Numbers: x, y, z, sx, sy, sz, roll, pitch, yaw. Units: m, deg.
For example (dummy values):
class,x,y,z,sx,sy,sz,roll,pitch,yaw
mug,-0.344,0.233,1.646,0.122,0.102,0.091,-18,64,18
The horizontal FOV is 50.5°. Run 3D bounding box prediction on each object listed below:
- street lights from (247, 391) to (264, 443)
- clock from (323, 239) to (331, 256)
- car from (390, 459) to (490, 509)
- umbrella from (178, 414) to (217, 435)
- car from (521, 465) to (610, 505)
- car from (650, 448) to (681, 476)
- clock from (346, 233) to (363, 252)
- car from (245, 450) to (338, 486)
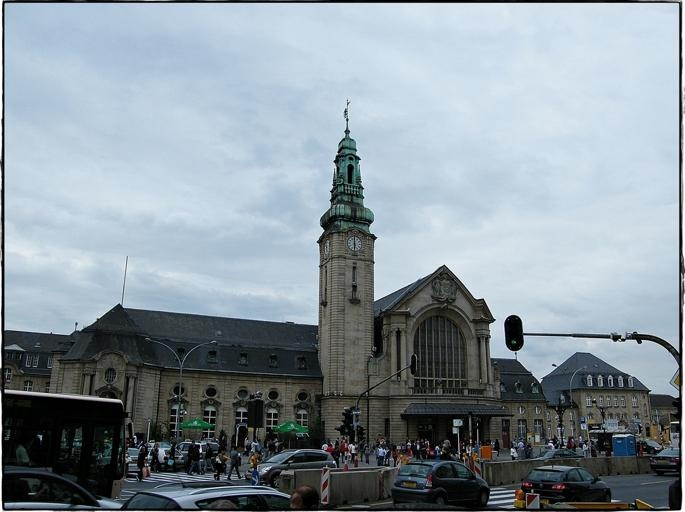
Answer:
class,x,y,z,sx,sy,sz,roll,pitch,yaw
street lights,-3.709,6.911,30.654,0.533,1.949,0.545,-1,11,-15
clock,-1.689,-0.957,76.314,0.121,1.569,1.513,3,-6,-17
car,3.986,9.264,29.605,3.710,1.829,1.336,7,-19,-23
umbrella,-13.675,15.698,67.500,2.212,1.054,2.242,32,-40,-27
car,8.994,9.339,29.793,3.299,1.419,1.674,-3,-18,7
car,18.324,11.743,41.569,1.495,1.562,2.861,-8,-19,21
clock,1.075,-1.392,75.681,1.802,1.905,0.180,3,-11,-34
car,-2.594,10.424,36.011,2.315,1.915,5.014,-13,-22,33
